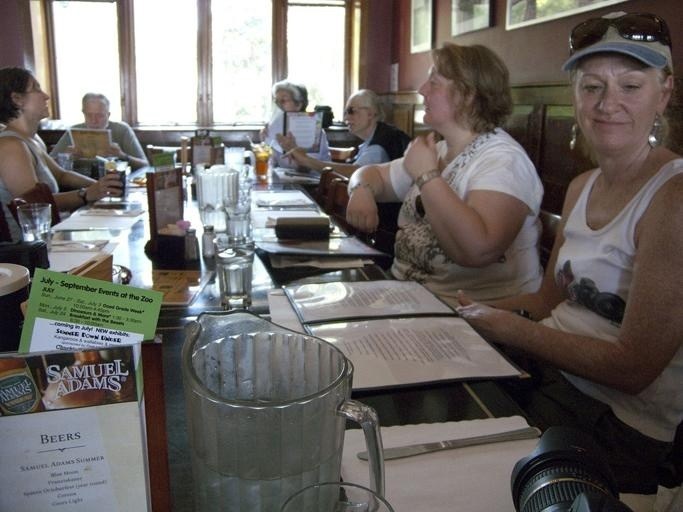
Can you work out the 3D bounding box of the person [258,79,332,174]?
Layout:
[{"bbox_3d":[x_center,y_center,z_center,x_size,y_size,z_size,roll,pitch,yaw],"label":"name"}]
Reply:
[{"bbox_3d":[-0.423,-1.086,4.512,0.674,0.886,0.335,3,4,-9],"label":"person"}]

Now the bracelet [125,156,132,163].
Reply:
[{"bbox_3d":[-1.673,-0.756,4.269,0.033,0.034,0.035,-2,40,-6],"label":"bracelet"}]

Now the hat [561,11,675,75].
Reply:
[{"bbox_3d":[0.744,-0.545,1.444,0.256,0.079,0.268,10,0,27],"label":"hat"}]

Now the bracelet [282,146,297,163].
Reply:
[{"bbox_3d":[-0.373,-0.742,3.947,0.070,0.142,0.073,-28,62,-29],"label":"bracelet"}]

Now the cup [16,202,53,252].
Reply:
[{"bbox_3d":[-0.932,-0.079,1.662,0.099,0.162,0.095,-2,4,0],"label":"cup"}]
